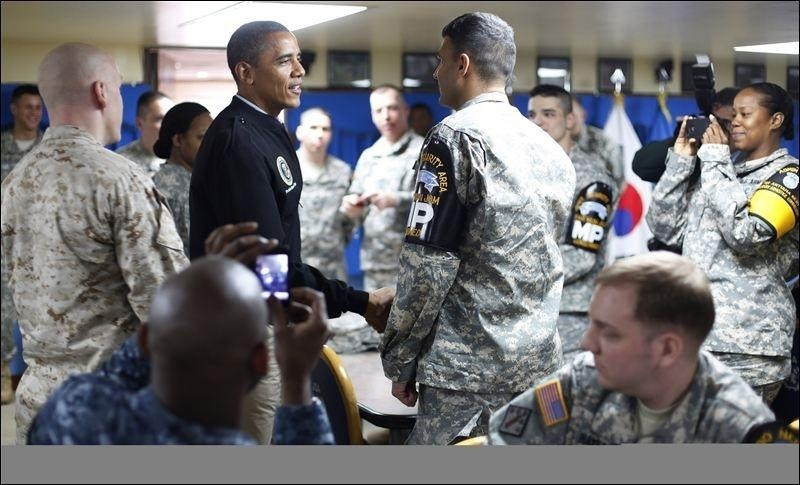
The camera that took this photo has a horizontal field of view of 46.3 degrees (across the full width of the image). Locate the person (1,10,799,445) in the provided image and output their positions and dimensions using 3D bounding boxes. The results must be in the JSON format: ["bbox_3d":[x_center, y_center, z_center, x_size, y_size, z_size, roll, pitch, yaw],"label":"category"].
[{"bbox_3d":[-0.069,-0.053,3.924,1.528,1.776,0.628,0,12,12],"label":"person"}]
